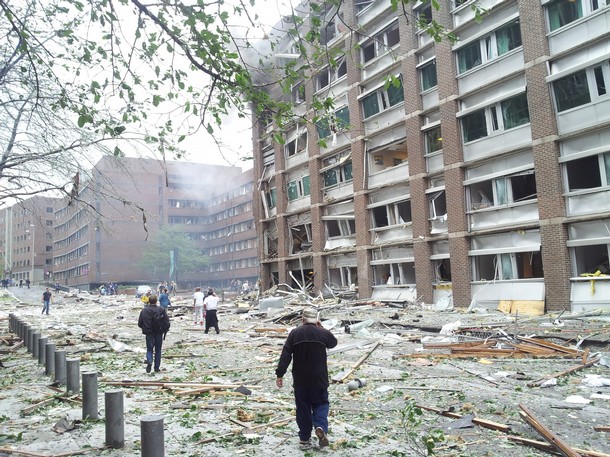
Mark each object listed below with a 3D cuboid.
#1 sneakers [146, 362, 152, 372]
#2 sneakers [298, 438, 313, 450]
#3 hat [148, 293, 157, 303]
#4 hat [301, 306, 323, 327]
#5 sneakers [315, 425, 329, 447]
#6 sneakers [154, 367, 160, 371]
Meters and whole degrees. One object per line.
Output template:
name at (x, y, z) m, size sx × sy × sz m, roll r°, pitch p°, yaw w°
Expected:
sneakers at (-4.394, 3.869, 13.995) m, size 0.143 × 0.295 × 0.130 m, roll 4°, pitch -3°, yaw -5°
sneakers at (0.025, 3.863, 8.995) m, size 0.291 × 0.111 × 0.269 m, roll 1°, pitch -10°, yaw -16°
hat at (-4.278, 1.931, 14.023) m, size 0.198 × 0.256 × 0.546 m, roll 2°, pitch -10°, yaw -17°
hat at (0.139, 1.651, 9.571) m, size 0.318 × 0.374 × 0.384 m, roll 1°, pitch 17°, yaw 2°
sneakers at (0.298, 3.680, 8.843) m, size 0.230 × 0.378 × 0.266 m, roll -1°, pitch -9°, yaw 0°
sneakers at (-4.208, 3.987, 14.215) m, size 0.115 × 0.173 × 0.136 m, roll 0°, pitch 0°, yaw -37°
